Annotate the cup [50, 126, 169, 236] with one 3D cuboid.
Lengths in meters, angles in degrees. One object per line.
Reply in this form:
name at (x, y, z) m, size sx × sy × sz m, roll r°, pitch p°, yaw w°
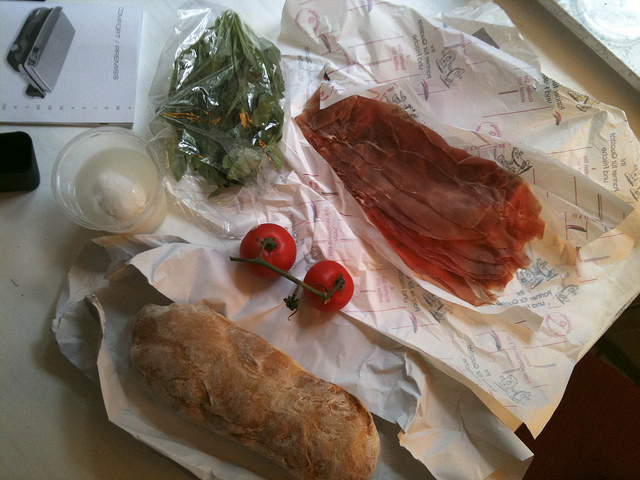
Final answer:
cup at (-0.501, -0.114, 1.264) m, size 0.242 × 0.196 × 0.286 m, roll -6°, pitch 88°, yaw 0°
